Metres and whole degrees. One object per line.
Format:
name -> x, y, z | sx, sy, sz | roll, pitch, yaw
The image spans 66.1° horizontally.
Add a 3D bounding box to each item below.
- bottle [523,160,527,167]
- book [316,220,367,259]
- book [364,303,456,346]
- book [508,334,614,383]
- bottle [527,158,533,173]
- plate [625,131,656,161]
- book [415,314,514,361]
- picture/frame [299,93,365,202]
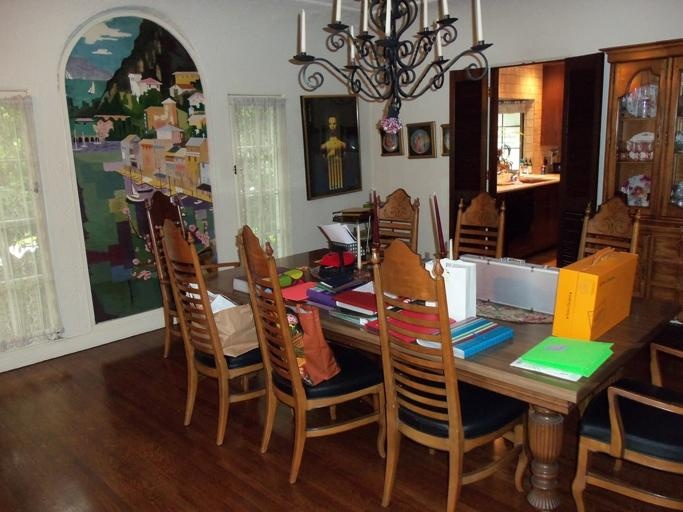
bottle -> 2.656, -1.347, 7.538 | 0.048, 0.085, 0.064 | -1, 13, 12
book -> 0.034, -0.129, 3.921 | 0.353, 0.166, 0.251 | -9, 15, -34
book -> 0.350, 0.359, 2.733 | 0.256, 0.066, 0.254 | 9, 16, 39
book -> 1.122, 0.502, 2.620 | 0.519, 0.072, 0.327 | -15, 16, -40
bottle -> 2.736, -1.310, 7.588 | 0.073, 0.213, 0.255 | 1, 13, 21
plate -> 2.606, -0.955, 4.569 | 0.204, 0.213, 0.209 | -9, 12, -39
book -> 0.714, 0.421, 2.776 | 0.230, 0.048, 0.335 | 13, 23, 43
picture/frame -> -0.150, -1.352, 6.412 | 1.117, 1.589, 0.063 | -15, 20, -42
